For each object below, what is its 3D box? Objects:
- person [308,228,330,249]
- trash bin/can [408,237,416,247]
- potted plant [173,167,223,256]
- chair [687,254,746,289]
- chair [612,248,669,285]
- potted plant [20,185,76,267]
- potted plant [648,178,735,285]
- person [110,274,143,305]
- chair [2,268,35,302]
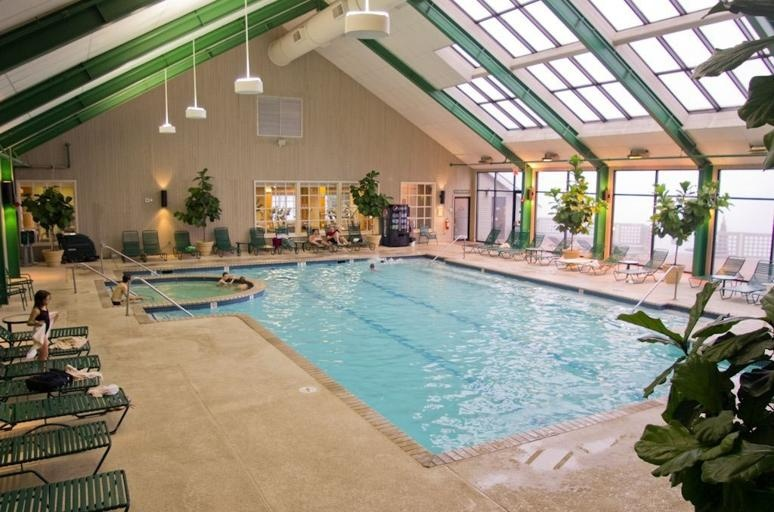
[{"bbox_3d":[-3.092,-0.710,20.910,0.646,0.706,1.250,-2,6,-35],"label":"person"},{"bbox_3d":[1.253,-0.618,23.389,0.460,0.395,0.329,3,-2,7],"label":"trash bin/can"},{"bbox_3d":[-7.271,-1.680,18.703,1.514,3.333,1.296,2,10,-17],"label":"potted plant"},{"bbox_3d":[9.471,0.455,13.852,1.710,0.716,0.761,-10,10,-23],"label":"chair"},{"bbox_3d":[7.661,0.353,15.346,1.051,0.864,1.939,5,-7,-2],"label":"chair"},{"bbox_3d":[-11.584,-1.099,16.550,1.536,2.500,2.725,-2,11,-36],"label":"potted plant"},{"bbox_3d":[8.933,-1.069,14.991,2.334,2.276,1.928,-3,12,-7],"label":"potted plant"},{"bbox_3d":[-6.164,0.859,11.478,0.548,0.688,0.773,6,6,43],"label":"person"},{"bbox_3d":[-9.109,0.750,11.892,0.666,0.915,0.515,4,19,-21],"label":"chair"}]
